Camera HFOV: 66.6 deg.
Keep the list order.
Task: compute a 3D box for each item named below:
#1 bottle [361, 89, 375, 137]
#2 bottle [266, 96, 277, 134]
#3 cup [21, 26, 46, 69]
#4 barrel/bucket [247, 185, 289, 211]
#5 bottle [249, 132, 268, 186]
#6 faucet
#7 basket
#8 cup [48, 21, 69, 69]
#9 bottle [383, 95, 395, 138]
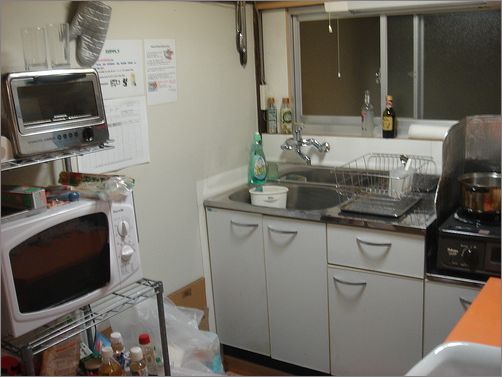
[{"bbox_3d":[0.795,-0.510,2.596,0.085,0.303,0.103,2,16,17],"label":"bottle"},{"bbox_3d":[0.162,-0.552,2.880,0.090,0.263,0.078,-6,16,-12],"label":"bottle"},{"bbox_3d":[-0.763,-0.496,1.347,0.088,0.150,0.169,-12,19,-28],"label":"cup"},{"bbox_3d":[0.115,0.050,2.473,0.171,0.083,0.166,-2,12,0],"label":"barrel/bucket"},{"bbox_3d":[0.042,-0.212,2.682,0.129,0.356,0.148,-2,15,2],"label":"bottle"},{"bbox_3d":[0.377,-0.320,2.686,0.268,0.276,0.283,-14,33,-13],"label":"faucet"},{"bbox_3d":[0.751,-0.028,2.241,0.631,0.272,0.657,6,20,27],"label":"basket"},{"bbox_3d":[-0.739,-0.550,1.467,0.074,0.164,0.156,-8,17,-17],"label":"cup"},{"bbox_3d":[0.919,-0.481,2.534,0.088,0.270,0.137,0,16,9],"label":"bottle"}]
